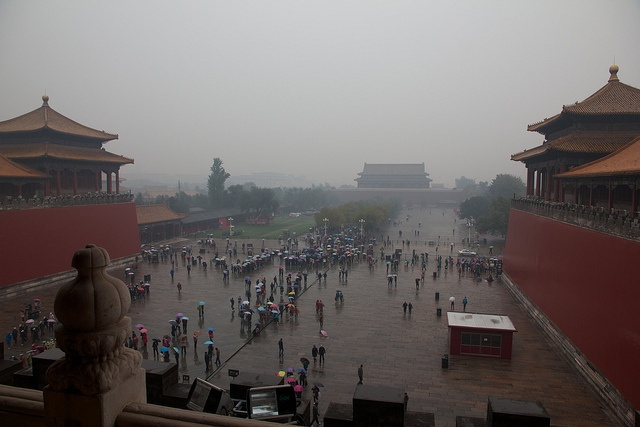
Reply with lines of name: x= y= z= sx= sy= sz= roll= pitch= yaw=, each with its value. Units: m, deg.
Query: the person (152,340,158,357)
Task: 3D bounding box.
person: x=-6.261 y=5.111 z=18.466 sx=0.224 sy=0.752 sz=0.757 roll=-2 pitch=8 yaw=-20

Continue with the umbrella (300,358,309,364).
umbrella: x=-0.556 y=5.253 z=17.133 sx=0.288 sy=0.157 sz=0.229 roll=6 pitch=2 yaw=25

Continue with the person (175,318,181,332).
person: x=-5.993 y=4.674 z=20.507 sx=0.164 sy=0.709 sz=0.920 roll=-1 pitch=8 yaw=-15

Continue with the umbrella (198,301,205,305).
umbrella: x=-5.711 y=4.311 z=23.333 sx=0.380 sy=0.185 sz=0.426 roll=0 pitch=-3 yaw=-2

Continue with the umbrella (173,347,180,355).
umbrella: x=-5.344 y=5.079 z=18.005 sx=0.191 sy=0.274 sz=0.633 roll=-2 pitch=9 yaw=-23

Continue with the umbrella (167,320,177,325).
umbrella: x=-6.066 y=4.537 z=20.057 sx=0.298 sy=0.135 sz=0.397 roll=5 pitch=0 yaw=2

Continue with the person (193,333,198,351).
person: x=-4.977 y=5.030 z=19.331 sx=0.177 sy=0.708 sz=1.024 roll=-1 pitch=8 yaw=-15

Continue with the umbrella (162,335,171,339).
umbrella: x=-6.079 y=4.875 z=19.112 sx=0.347 sy=0.187 sz=0.485 roll=7 pitch=-15 yaw=-26
